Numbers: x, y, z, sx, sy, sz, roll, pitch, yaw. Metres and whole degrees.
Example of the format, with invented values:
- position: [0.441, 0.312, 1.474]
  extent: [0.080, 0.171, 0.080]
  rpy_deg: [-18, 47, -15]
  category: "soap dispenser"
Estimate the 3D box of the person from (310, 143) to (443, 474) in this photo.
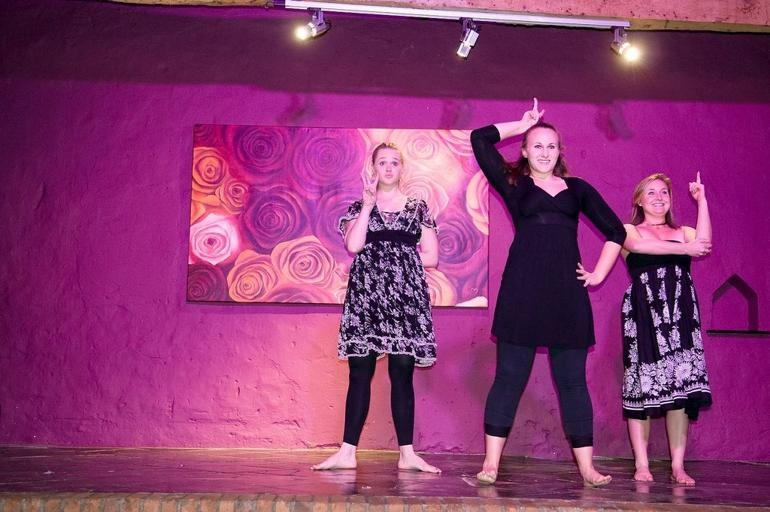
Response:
- position: [-0.010, 0.311, 4.554]
  extent: [0.774, 2.255, 0.252]
  rpy_deg: [2, -6, -5]
  category: "person"

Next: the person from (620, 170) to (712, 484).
- position: [1.983, 0.449, 4.610]
  extent: [0.618, 2.129, 0.461]
  rpy_deg: [-1, -6, 14]
  category: "person"

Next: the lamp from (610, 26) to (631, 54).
- position: [1.819, -1.676, 5.101]
  extent: [0.144, 0.192, 0.065]
  rpy_deg: [-33, -1, 21]
  category: "lamp"

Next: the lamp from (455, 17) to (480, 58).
- position: [0.636, -1.672, 5.056]
  extent: [0.129, 0.251, 0.186]
  rpy_deg: [3, -6, -17]
  category: "lamp"

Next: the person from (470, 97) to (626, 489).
- position: [1.046, 0.176, 4.333]
  extent: [0.960, 2.549, 0.261]
  rpy_deg: [1, -6, -3]
  category: "person"
